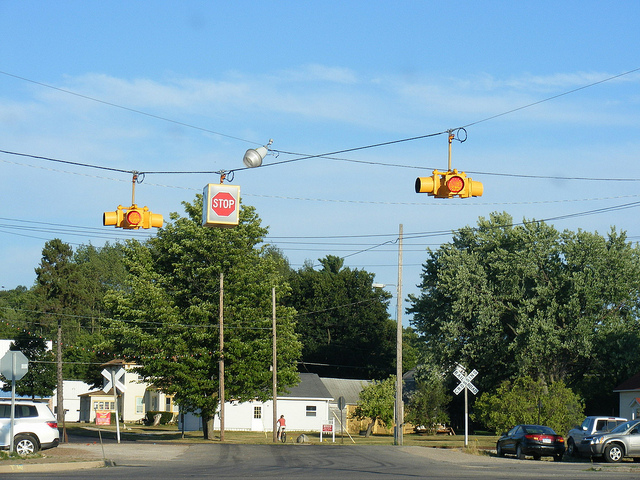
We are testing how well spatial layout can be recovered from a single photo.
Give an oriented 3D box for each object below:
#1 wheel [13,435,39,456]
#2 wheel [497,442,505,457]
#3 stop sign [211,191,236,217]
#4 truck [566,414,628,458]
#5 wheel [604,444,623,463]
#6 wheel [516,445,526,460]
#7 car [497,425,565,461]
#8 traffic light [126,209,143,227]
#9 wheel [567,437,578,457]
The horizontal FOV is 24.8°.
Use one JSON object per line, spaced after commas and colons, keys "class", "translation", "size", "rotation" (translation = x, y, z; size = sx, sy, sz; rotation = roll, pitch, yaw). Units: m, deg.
{"class": "wheel", "translation": [-18.445, 12.920, 91.364], "size": [1.117, 1.213, 0.373], "rotation": [1, -5, -12]}
{"class": "wheel", "translation": [12.237, 14.257, 98.989], "size": [0.375, 0.937, 0.597], "rotation": [5, -11, -18]}
{"class": "stop sign", "translation": [-5.826, -2.091, 87.376], "size": [1.376, 1.439, 0.187], "rotation": [0, 3, -3]}
{"class": "truck", "translation": [18.248, 13.378, 99.937], "size": [2.314, 2.066, 4.068], "rotation": [2, -3, -18]}
{"class": "wheel", "translation": [18.897, 13.789, 94.262], "size": [1.076, 1.171, 0.393], "rotation": [2, -2, -7]}
{"class": "wheel", "translation": [13.331, 14.140, 97.132], "size": [0.278, 0.919, 0.878], "rotation": [1, -6, -6]}
{"class": "car", "translation": [14.088, 13.560, 97.513], "size": [4.196, 2.399, 1.536], "rotation": [-4, -12, 27]}
{"class": "traffic light", "translation": [-11.064, -1.272, 87.154], "size": [0.895, 0.976, 0.304], "rotation": [2, -6, -2]}
{"class": "wheel", "translation": [17.276, 14.200, 99.897], "size": [0.447, 1.485, 1.423], "rotation": [1, 0, 7]}
